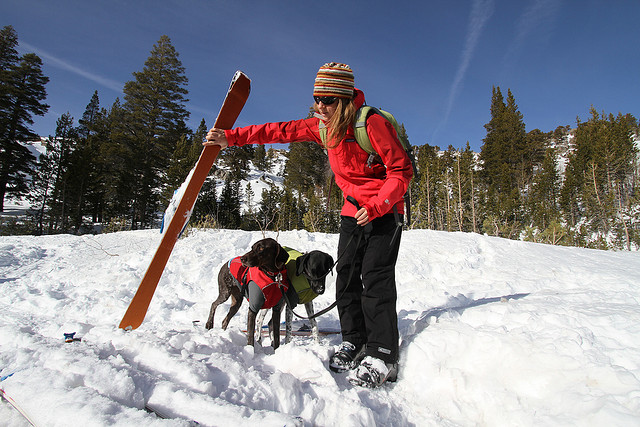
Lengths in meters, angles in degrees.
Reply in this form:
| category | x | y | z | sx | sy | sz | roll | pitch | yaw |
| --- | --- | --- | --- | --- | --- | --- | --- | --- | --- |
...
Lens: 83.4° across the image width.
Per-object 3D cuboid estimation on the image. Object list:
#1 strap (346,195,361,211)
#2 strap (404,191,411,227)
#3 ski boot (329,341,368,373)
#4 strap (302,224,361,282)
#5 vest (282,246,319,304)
| category | x | y | z | sx | sy | sz | roll | pitch | yaw |
| --- | --- | --- | --- | --- | --- | --- | --- | --- | --- |
| strap | 0.375 | -0.123 | 4.012 | 0.122 | 0.185 | 0.293 | 4 | -8 | -6 |
| strap | 0.969 | -0.045 | 4.029 | 0.061 | 0.398 | 0.394 | 2 | -8 | 13 |
| ski boot | 0.318 | 1.638 | 4.118 | 0.241 | 0.272 | 0.697 | 1 | -5 | 29 |
| strap | 0.120 | 0.464 | 4.393 | 0.341 | 0.311 | 1.170 | 26 | -55 | -12 |
| vest | -0.281 | 0.837 | 4.891 | 0.373 | 0.725 | 0.761 | 0 | -4 | 1 |
